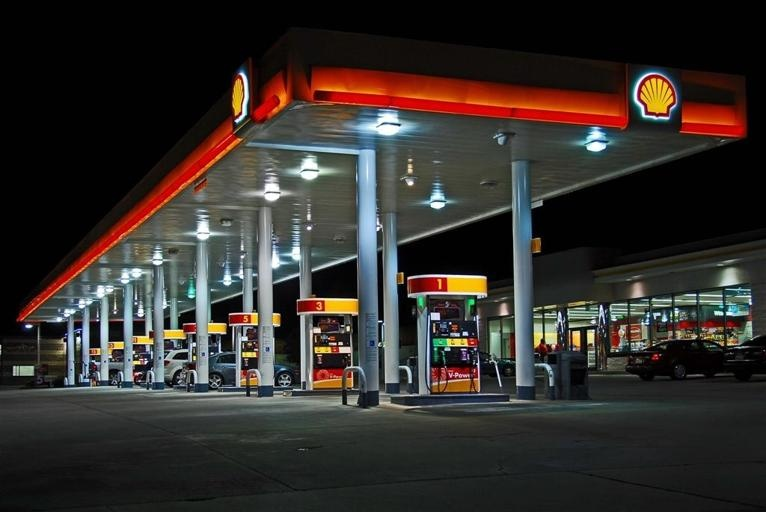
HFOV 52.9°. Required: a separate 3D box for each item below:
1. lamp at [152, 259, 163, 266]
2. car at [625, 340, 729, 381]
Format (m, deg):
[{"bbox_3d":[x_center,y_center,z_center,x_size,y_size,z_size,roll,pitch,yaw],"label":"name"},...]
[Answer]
[{"bbox_3d":[-10.070,0.288,34.646,0.400,0.234,0.396,-2,2,-42],"label":"lamp"},{"bbox_3d":[11.690,4.140,30.644,3.454,1.584,1.363,-4,-13,13],"label":"car"}]
